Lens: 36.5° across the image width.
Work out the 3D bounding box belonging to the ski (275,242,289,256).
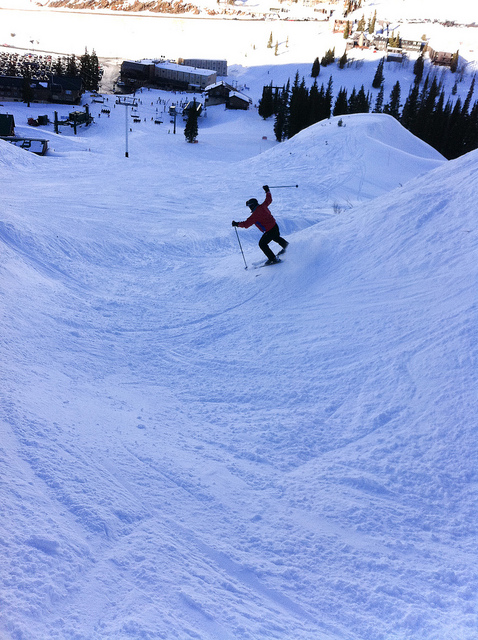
[{"bbox_3d":[0.865,-1.373,14.361,0.223,0.209,0.048,-35,85,-26],"label":"ski"}]

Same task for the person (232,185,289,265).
[{"bbox_3d":[0.463,-1.798,13.910,1.085,1.555,0.468,3,24,-8],"label":"person"}]
